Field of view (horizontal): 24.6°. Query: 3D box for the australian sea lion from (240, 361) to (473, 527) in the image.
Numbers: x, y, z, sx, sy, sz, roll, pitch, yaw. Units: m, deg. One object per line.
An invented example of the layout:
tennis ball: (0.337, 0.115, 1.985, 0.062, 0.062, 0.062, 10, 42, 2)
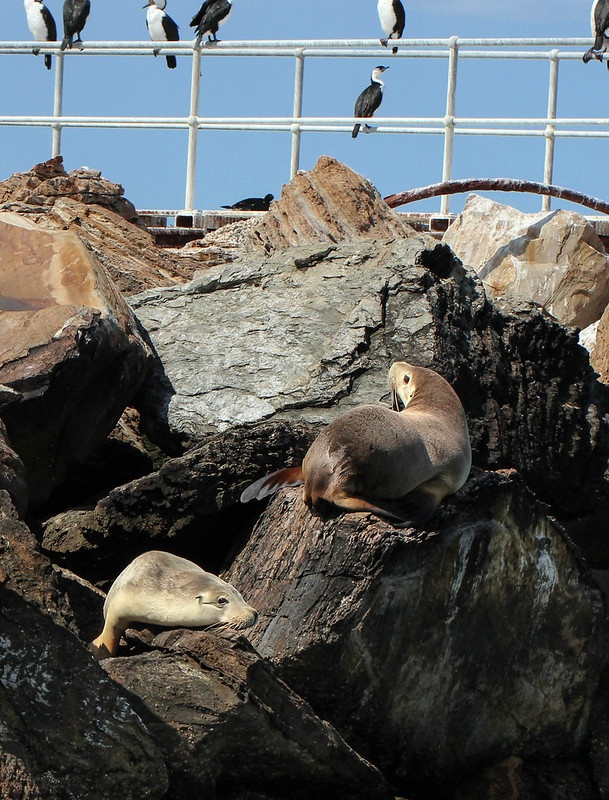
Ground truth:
australian sea lion: (0.309, 0.143, 4.642, 0.659, 0.482, 0.988, 4, 15, 10)

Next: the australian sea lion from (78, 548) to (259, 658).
australian sea lion: (-0.428, 0.680, 4.621, 0.549, 0.372, 0.225, 2, -15, 6)
